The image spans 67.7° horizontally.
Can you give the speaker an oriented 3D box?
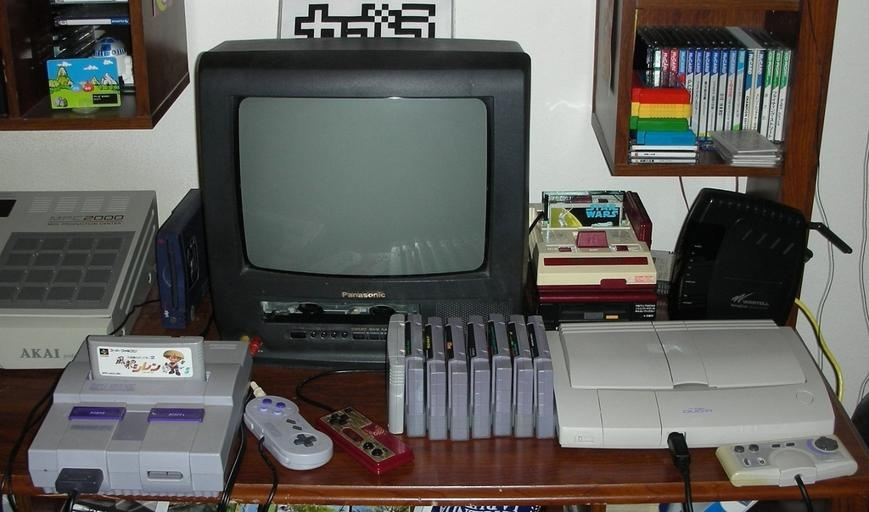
[{"bbox_3d":[0.951,0.008,2.014,0.444,0.451,0.179,8,24,-3],"label":"speaker"}]
